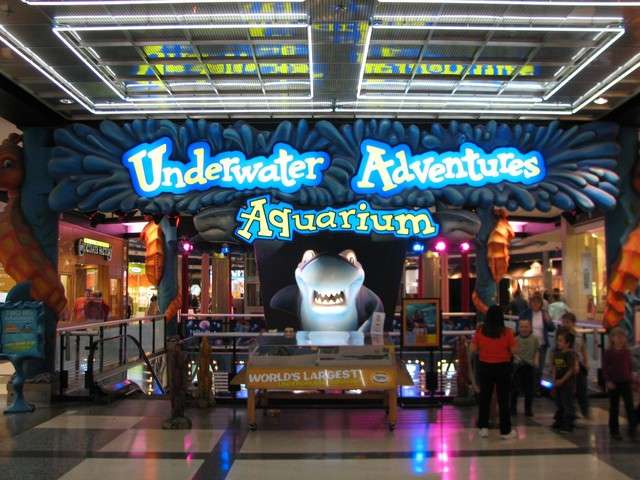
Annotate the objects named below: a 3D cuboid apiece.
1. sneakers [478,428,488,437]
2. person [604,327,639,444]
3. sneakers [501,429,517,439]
[{"bbox_3d":[2.551,2.990,8.073,0.132,0.145,0.163,0,1,8],"label":"sneakers"},{"bbox_3d":[4.687,2.213,8.104,0.592,1.687,0.316,-1,1,-31],"label":"person"},{"bbox_3d":[2.921,3.006,8.052,0.278,0.114,0.090,-1,-1,-30],"label":"sneakers"}]
